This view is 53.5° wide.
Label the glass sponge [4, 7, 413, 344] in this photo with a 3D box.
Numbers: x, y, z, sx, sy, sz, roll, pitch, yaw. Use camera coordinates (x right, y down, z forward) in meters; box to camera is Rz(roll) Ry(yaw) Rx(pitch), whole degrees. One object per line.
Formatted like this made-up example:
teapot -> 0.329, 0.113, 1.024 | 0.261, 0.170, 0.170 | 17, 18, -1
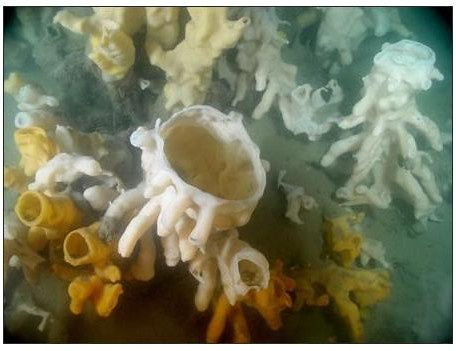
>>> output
glass sponge -> -0.147, 0.200, 1.719 | 1.466, 0.795, 0.412 | 22, 12, -11
